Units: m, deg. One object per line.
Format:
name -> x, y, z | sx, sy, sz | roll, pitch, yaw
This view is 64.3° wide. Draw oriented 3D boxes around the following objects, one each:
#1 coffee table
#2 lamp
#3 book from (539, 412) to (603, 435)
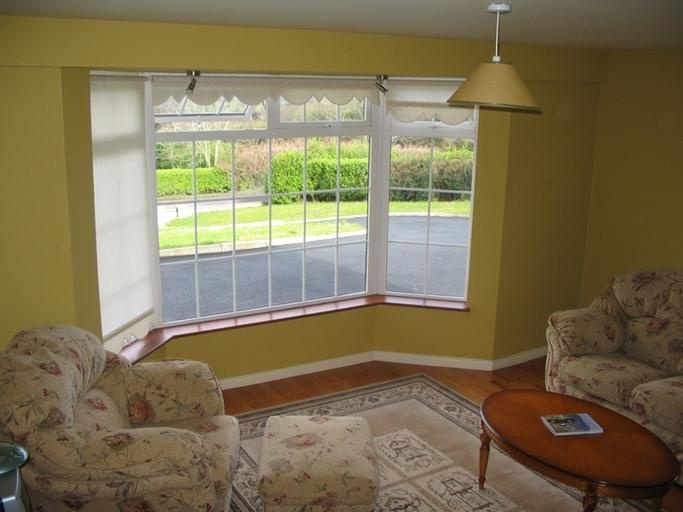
coffee table -> 1.307, 1.031, 3.064 | 1.016, 0.219, 0.743 | 9, 14, 39
lamp -> 0.884, -1.093, 2.978 | 0.448, 0.613, 0.584 | 6, 12, 28
book -> 1.295, 0.946, 3.051 | 0.183, 0.018, 0.133 | -2, 15, -4
